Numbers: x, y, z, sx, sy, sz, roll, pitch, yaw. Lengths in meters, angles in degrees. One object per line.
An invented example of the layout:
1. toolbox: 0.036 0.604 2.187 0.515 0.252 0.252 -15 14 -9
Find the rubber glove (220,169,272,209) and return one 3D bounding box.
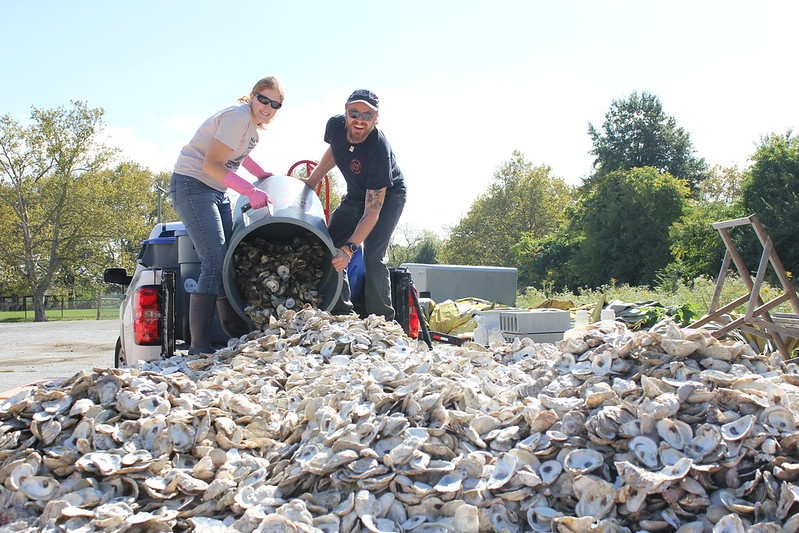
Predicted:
1. rubber glove: -1.386 -0.711 5.586 0.294 0.327 0.422 -2 -6 36

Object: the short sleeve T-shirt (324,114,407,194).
1. short sleeve T-shirt: -0.411 -1.171 6.308 0.772 0.861 0.323 -3 -6 40

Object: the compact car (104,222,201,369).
1. compact car: -2.467 0.150 6.315 0.976 0.867 1.503 -11 5 -24
